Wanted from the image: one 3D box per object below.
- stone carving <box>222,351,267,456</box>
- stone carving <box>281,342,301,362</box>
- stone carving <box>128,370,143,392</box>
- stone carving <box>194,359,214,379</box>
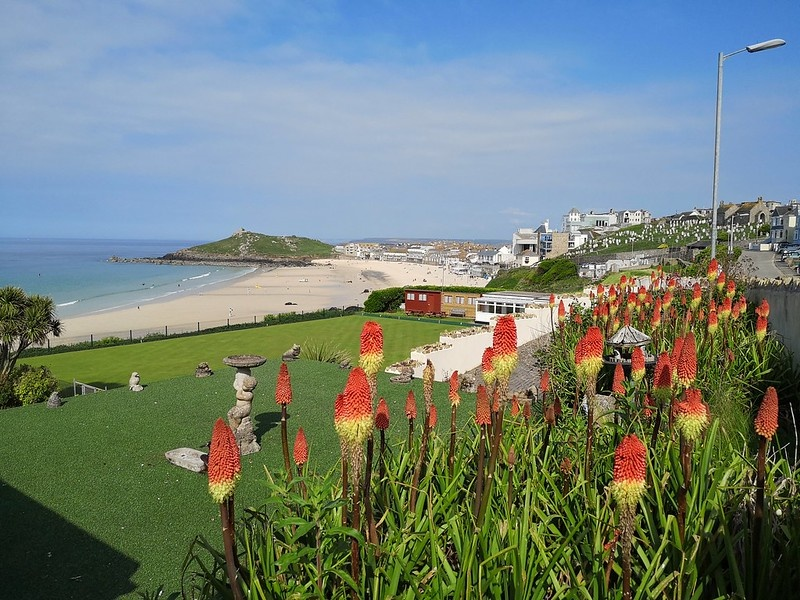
[{"bbox_3d":[-3.711,2.489,12.157,0.930,2.121,0.966,-1,-2,15],"label":"stone carving"},{"bbox_3d":[-4.409,2.060,19.911,0.814,0.652,0.568,-12,8,-4],"label":"stone carving"},{"bbox_3d":[-8.425,2.584,16.158,0.400,0.487,0.692,-9,15,-37],"label":"stone carving"},{"bbox_3d":[-6.796,2.399,17.493,0.507,0.502,0.367,-5,13,-23],"label":"stone carving"}]
